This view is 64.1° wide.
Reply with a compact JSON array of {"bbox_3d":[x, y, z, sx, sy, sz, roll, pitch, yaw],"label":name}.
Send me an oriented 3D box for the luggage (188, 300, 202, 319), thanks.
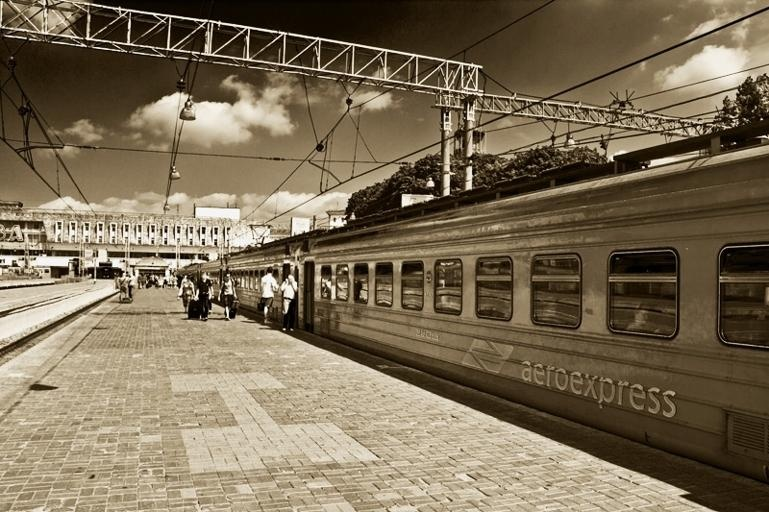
[{"bbox_3d":[-7.895,2.232,25.509,0.685,0.958,0.520,5,-10,-29],"label":"luggage"}]
